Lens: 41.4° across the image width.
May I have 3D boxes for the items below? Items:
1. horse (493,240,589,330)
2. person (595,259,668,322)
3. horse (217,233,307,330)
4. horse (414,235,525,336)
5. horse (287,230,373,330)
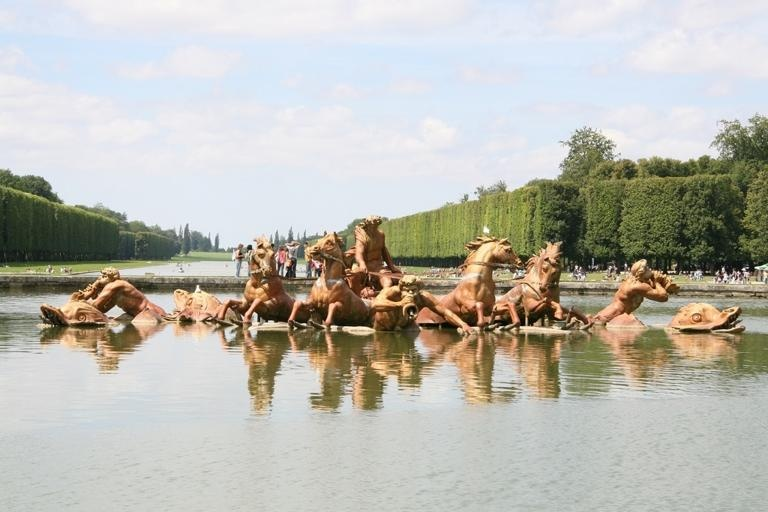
[{"bbox_3d":[2.865,0.615,19.615,0.941,1.564,2.600,3,-11,-24],"label":"horse"},{"bbox_3d":[4.924,0.715,19.829,1.171,1.342,1.257,-7,14,-31],"label":"person"},{"bbox_3d":[-2.192,0.608,19.428,0.839,1.753,2.674,13,-8,8],"label":"horse"},{"bbox_3d":[1.466,0.656,19.482,0.752,2.008,3.046,9,-16,-41],"label":"horse"},{"bbox_3d":[-0.952,0.474,18.494,1.488,1.722,0.852,1,13,0],"label":"horse"}]
